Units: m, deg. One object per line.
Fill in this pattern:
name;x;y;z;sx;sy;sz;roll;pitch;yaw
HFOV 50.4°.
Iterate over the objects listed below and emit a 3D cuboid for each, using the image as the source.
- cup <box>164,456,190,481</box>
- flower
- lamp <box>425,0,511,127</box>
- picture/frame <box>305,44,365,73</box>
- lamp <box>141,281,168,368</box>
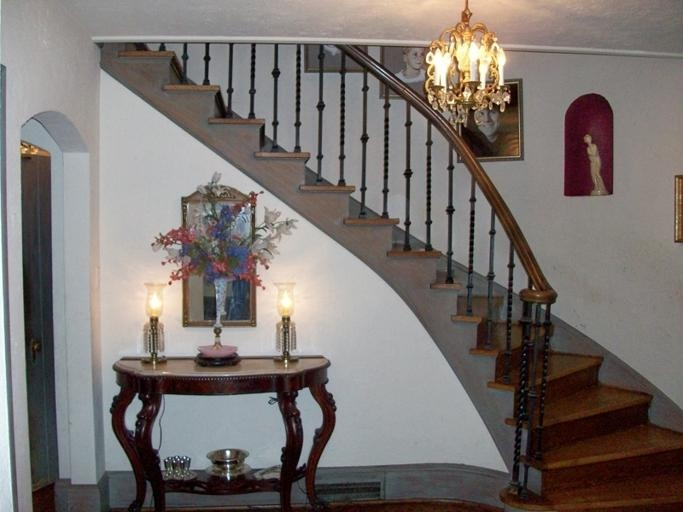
cup;-1.342;1.752;5.960;0.150;0.126;0.161;1;1;0
flower;-0.953;-0.099;5.877;0.997;0.658;0.963;-3;-15;-6
lamp;0.865;-1.367;5.097;0.564;0.842;0.294;-3;-1;15
picture/frame;-0.097;-2.064;7.524;0.601;0.270;0.203;-3;-1;2
lamp;-1.516;0.555;5.910;0.196;0.509;0.228;-2;-1;-31
